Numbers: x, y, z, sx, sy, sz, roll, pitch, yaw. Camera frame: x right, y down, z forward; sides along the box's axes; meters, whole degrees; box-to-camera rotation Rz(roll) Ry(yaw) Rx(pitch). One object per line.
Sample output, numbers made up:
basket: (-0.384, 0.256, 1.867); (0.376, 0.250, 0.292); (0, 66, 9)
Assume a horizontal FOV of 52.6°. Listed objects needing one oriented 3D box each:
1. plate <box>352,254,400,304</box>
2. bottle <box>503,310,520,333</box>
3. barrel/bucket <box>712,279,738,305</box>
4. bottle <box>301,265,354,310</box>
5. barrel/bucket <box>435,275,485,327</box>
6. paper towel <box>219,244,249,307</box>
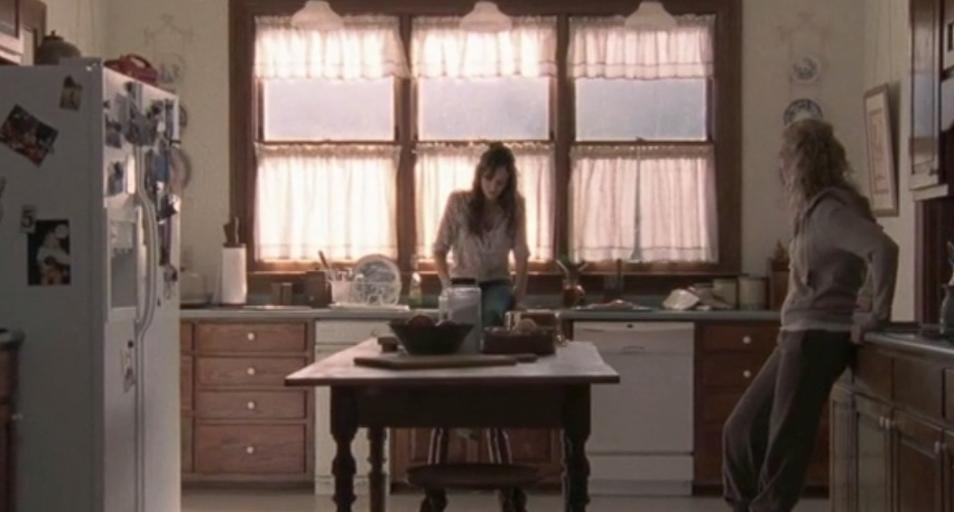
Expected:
plate: (-0.816, 0.184, 7.844); (0.364, 0.403, 0.156); (0, -2, -10)
bottle: (0.215, 0.405, 6.074); (0.107, 0.097, 0.097); (3, -6, -6)
barrel/bucket: (2.031, 0.293, 7.861); (0.212, 0.225, 0.211); (0, -1, 0)
bottle: (-1.211, 0.264, 7.874); (0.344, 0.303, 0.120); (0, -2, -6)
barrel/bucket: (-0.082, 0.304, 6.031); (0.289, 0.368, 0.272); (0, 4, 0)
paper towel: (-2.025, 0.152, 7.942); (0.249, 0.493, 0.247); (1, 3, 8)
